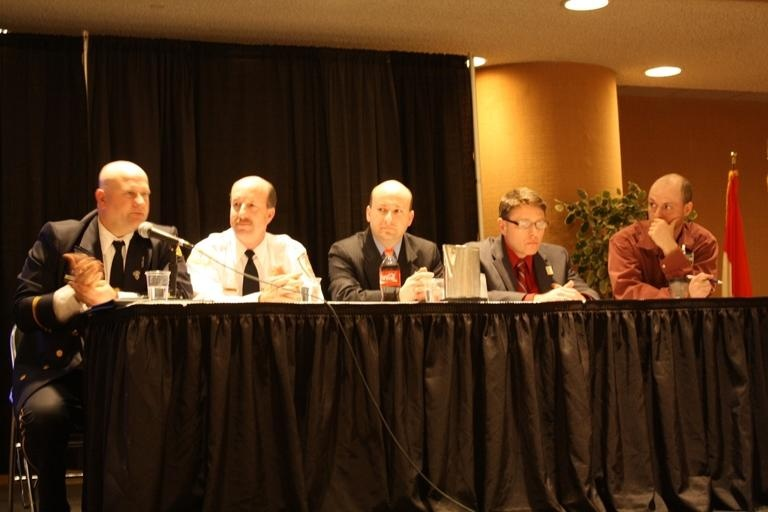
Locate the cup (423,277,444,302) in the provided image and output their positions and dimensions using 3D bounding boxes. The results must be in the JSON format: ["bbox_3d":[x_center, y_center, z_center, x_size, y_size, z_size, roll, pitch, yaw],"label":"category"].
[{"bbox_3d":[0.281,0.190,4.446,0.110,0.135,0.116,1,-6,0],"label":"cup"}]

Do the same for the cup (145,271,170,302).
[{"bbox_3d":[-1.231,0.162,4.183,0.111,0.147,0.181,-1,3,-18],"label":"cup"}]

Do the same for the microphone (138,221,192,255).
[{"bbox_3d":[-1.420,-0.114,4.966,0.391,0.113,0.105,26,13,-3],"label":"microphone"}]

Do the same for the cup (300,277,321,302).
[{"bbox_3d":[-0.442,0.203,4.669,0.125,0.139,0.137,-1,0,5],"label":"cup"}]

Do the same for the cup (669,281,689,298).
[{"bbox_3d":[1.809,0.201,4.746,0.119,0.136,0.123,4,-2,0],"label":"cup"}]

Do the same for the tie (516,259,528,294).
[{"bbox_3d":[0.969,0.139,5.406,0.053,0.256,0.064,-3,-22,2],"label":"tie"}]
